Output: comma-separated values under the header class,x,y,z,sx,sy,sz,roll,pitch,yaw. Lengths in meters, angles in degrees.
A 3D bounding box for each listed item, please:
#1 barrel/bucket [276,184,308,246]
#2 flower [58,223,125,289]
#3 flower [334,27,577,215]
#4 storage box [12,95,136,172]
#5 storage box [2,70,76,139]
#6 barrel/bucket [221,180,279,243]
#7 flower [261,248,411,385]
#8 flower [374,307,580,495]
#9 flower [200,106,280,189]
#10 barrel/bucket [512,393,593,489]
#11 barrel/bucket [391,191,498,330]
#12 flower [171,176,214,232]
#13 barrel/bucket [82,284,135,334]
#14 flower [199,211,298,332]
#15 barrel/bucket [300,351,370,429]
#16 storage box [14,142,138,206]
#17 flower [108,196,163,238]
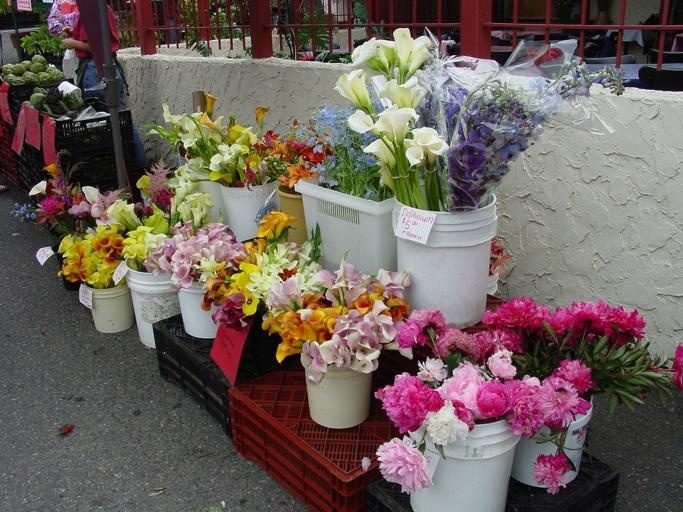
class,x,y,z,sx,sy,sz,roll,pitch,yaw
barrel/bucket,-0.219,-0.181,2.288,0.163,0.228,0.159,0,32,0
flower,-1.429,0.010,2.884,0.437,0.374,0.176,1,25,3
flower,0.386,-0.472,1.803,0.799,0.623,0.595,18,32,34
storage box,-2.072,-1.172,4.124,0.674,0.362,0.671,42,52,17
storage box,-2.899,-1.437,4.785,0.511,0.331,0.523,-19,36,-26
barrel/bucket,-0.494,-0.298,2.792,0.293,0.324,0.311,0,25,0
flower,-0.025,0.209,1.760,0.423,0.378,0.448,1,0,13
flower,0.429,0.513,1.605,0.532,0.390,0.574,-6,51,11
flower,-0.519,-0.562,2.654,0.413,0.447,0.366,-3,8,-15
barrel/bucket,0.645,0.608,1.701,0.281,0.231,0.279,-5,27,3
barrel/bucket,0.380,-0.030,2.031,0.426,0.489,0.455,-1,26,1
flower,-0.762,-0.264,2.557,0.183,0.189,0.157,31,54,16
barrel/bucket,-1.362,0.285,3.025,0.301,0.256,0.279,0,13,0
flower,-0.386,0.060,2.063,0.291,0.481,0.482,21,13,-5
barrel/bucket,0.000,0.521,1.851,0.264,0.270,0.281,1,29,-1
storage box,-1.962,-0.638,3.788,0.691,0.470,0.446,-13,28,-25
flower,-1.177,-0.238,2.789,0.338,0.150,0.272,17,14,18
